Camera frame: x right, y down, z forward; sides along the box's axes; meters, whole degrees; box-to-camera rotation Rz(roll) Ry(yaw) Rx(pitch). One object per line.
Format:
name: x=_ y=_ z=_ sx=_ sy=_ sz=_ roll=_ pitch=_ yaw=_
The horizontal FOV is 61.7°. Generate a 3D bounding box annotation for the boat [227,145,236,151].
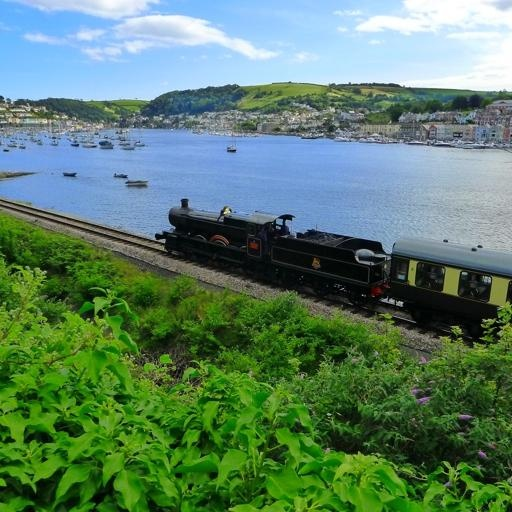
boat: x=-11.115 y=-48.759 z=194.936 sx=3.123 sy=2.972 sz=9.022 roll=-1 pitch=13 yaw=-3
